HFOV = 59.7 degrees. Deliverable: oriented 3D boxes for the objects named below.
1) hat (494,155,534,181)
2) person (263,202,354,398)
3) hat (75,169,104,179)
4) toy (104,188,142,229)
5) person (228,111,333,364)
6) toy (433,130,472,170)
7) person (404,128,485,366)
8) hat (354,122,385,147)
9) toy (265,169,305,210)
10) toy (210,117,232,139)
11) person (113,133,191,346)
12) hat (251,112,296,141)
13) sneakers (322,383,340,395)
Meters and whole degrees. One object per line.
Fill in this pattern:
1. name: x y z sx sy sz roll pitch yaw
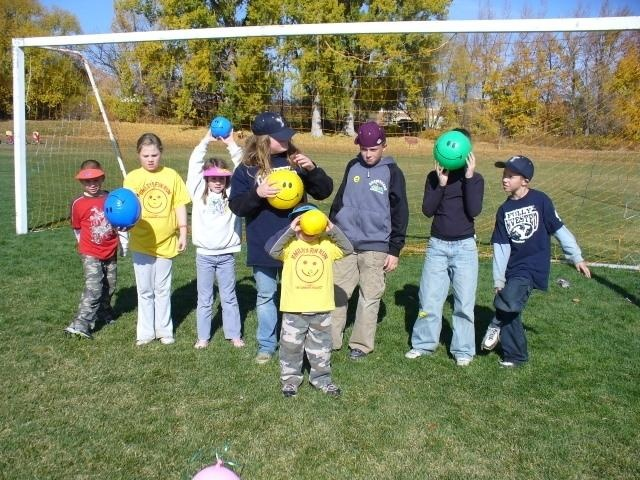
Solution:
1. hat: 2.363 -0.899 6.708 0.382 0.222 0.283 26 12 -12
2. person: -0.131 0.669 6.132 0.838 2.056 0.419 -1 10 -7
3. hat: -3.022 -0.864 7.322 0.318 0.165 0.222 -4 12 -21
4. toy: -2.340 -0.397 6.751 0.427 0.557 0.440 8 8 44
5. person: -0.554 0.075 6.981 1.129 2.845 0.988 6 35 0
6. toy: 1.569 -1.068 6.712 0.431 0.481 0.436 8 8 9
7. person: 1.561 0.213 6.828 0.808 2.535 0.535 3 10 16
8. hat: 0.602 -1.280 6.652 0.240 0.288 0.355 2 39 14
9. toy: -0.402 -0.588 6.299 0.395 0.458 0.405 2 16 -7
10. toy: -1.328 -1.523 7.416 0.315 0.295 0.277 -2 21 -33
11. person: -2.044 -0.007 7.028 0.738 2.623 0.488 -3 11 -21
12. hat: -0.539 -1.292 6.311 0.401 0.228 0.299 2 30 -2
13. sneakers: 0.116 1.647 6.184 0.170 0.080 0.089 1 7 44
